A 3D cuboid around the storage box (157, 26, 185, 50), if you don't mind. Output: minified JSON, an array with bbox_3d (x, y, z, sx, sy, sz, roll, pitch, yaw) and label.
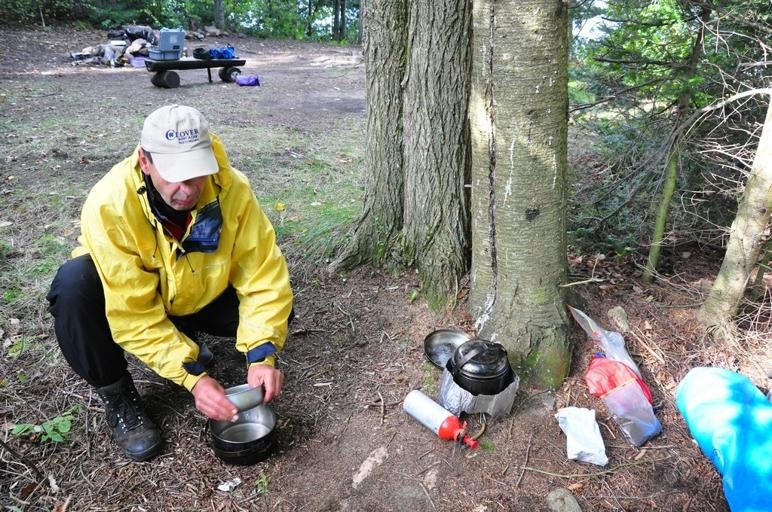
[{"bbox_3d":[-4.717,-4.818,12.729,0.396,0.451,0.690,16,33,32],"label":"storage box"}]

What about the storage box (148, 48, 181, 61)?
[{"bbox_3d":[-4.930,-4.482,12.797,0.455,0.186,0.499,24,32,33],"label":"storage box"}]

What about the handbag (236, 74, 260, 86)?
[{"bbox_3d":[-3.340,-4.326,14.087,0.438,0.201,0.477,21,30,25],"label":"handbag"}]

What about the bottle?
[{"bbox_3d":[0.404,1.250,4.308,0.594,0.288,0.156,17,34,33],"label":"bottle"}]

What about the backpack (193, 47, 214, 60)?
[{"bbox_3d":[-4.358,-4.843,13.697,0.319,0.233,0.498,4,20,-3],"label":"backpack"}]
